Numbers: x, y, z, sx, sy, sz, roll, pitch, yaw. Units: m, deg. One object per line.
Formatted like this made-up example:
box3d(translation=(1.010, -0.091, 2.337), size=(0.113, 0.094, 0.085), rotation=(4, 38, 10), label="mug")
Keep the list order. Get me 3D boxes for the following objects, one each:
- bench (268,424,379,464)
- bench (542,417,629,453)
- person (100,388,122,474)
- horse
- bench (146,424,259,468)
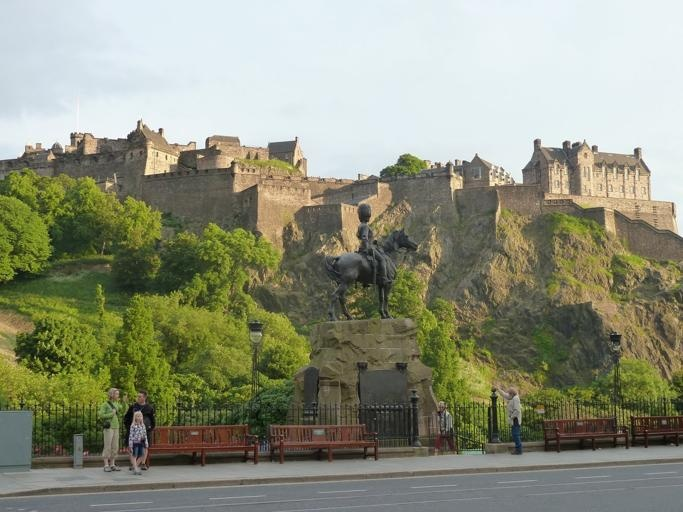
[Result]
box3d(translation=(-0.969, 9.531, 70.516), size=(5.336, 1.956, 1.320), rotation=(1, -10, -4), label="bench")
box3d(translation=(12.881, 9.493, 73.825), size=(4.722, 1.849, 0.961), rotation=(3, -10, -19), label="bench")
box3d(translation=(-11.355, 8.595, 68.445), size=(0.866, 4.006, 1.052), rotation=(0, -10, 0), label="person")
box3d(translation=(1.625, 1.140, 76.233), size=(5.501, 4.949, 1.548), rotation=(0, -4, -22), label="horse")
box3d(translation=(-6.881, 9.412, 69.430), size=(5.298, 1.966, 1.464), rotation=(3, -10, -14), label="bench")
